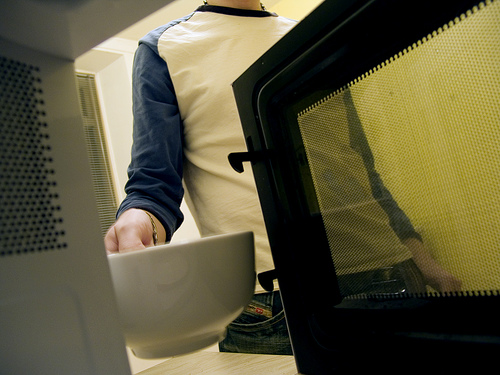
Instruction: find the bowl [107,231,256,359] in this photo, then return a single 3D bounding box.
[{"bbox_3d":[-0.100,0.149,0.543,0.211,0.134,0.217,-7,-8,-1],"label":"bowl"}]
